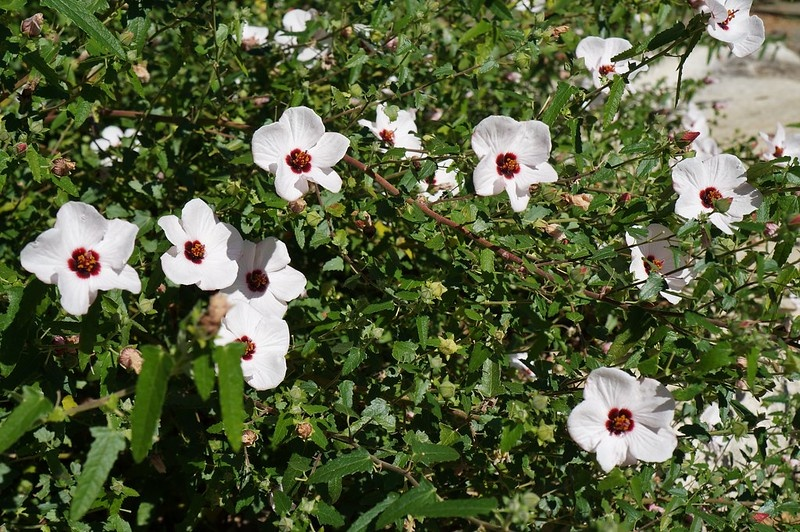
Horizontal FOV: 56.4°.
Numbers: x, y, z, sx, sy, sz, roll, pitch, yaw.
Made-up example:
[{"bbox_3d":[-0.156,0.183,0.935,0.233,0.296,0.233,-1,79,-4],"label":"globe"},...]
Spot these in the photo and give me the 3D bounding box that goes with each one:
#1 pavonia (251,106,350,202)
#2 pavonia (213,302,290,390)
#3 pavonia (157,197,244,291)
[{"bbox_3d":[-0.439,-0.484,3.346,0.382,0.270,0.404,-29,62,-23],"label":"pavonia"},{"bbox_3d":[-0.634,0.388,3.388,0.275,0.346,0.386,-29,62,-23],"label":"pavonia"},{"bbox_3d":[-0.875,-0.081,3.309,0.348,0.268,0.351,-9,56,-12],"label":"pavonia"}]
